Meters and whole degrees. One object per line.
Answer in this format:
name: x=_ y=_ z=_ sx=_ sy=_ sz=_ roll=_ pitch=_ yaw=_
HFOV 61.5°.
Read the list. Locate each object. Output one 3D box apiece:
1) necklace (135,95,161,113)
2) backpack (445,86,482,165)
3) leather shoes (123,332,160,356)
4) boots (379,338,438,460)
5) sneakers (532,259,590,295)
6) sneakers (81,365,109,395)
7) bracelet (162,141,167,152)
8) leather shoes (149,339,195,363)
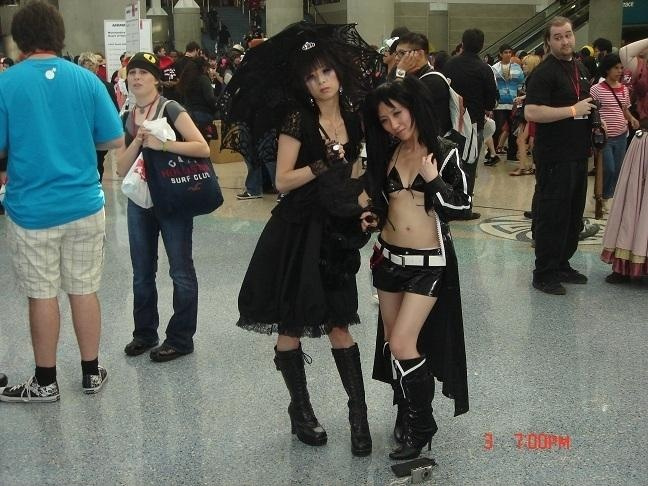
necklace: x=-1.162 y=-0.875 z=3.461 sx=0.225 sy=0.129 sz=0.111 roll=8 pitch=15 yaw=29
backpack: x=1.134 y=-0.948 z=4.409 sx=0.242 sy=0.563 sz=0.251 roll=0 pitch=20 yaw=6
leather shoes: x=-1.232 y=0.678 z=3.679 sx=0.098 sy=0.100 sz=0.233 roll=18 pitch=25 yaw=38
boots: x=0.415 y=0.757 z=2.508 sx=0.204 sy=0.510 sz=0.113 roll=3 pitch=13 yaw=10
sneakers: x=2.023 y=0.304 z=4.642 sx=0.597 sy=0.251 sz=0.198 roll=-8 pitch=24 yaw=-25
sneakers: x=-1.348 y=0.806 z=3.175 sx=0.073 sy=0.080 sz=0.195 roll=0 pitch=10 yaw=-1
bracelet: x=-0.972 y=-0.580 z=3.273 sx=0.028 sy=0.049 sz=0.017 roll=-4 pitch=14 yaw=-19
leather shoes: x=-1.013 y=0.703 z=3.579 sx=0.257 sy=0.110 sz=0.115 roll=1 pitch=1 yaw=-31
